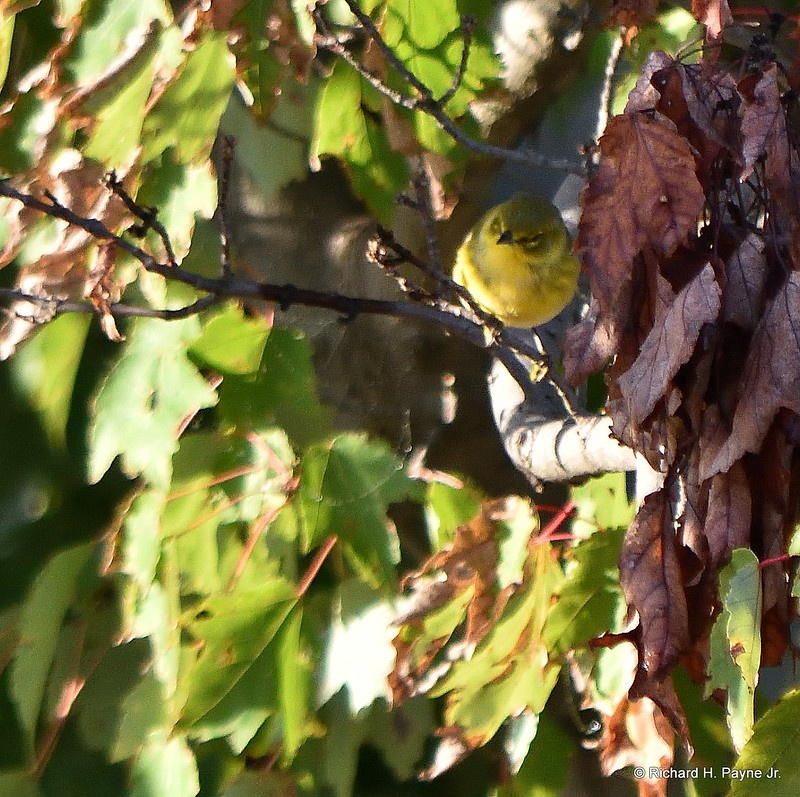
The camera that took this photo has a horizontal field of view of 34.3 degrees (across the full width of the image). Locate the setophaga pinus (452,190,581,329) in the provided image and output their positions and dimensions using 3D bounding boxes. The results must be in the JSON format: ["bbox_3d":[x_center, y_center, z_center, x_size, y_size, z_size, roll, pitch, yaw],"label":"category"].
[{"bbox_3d":[0.223,-0.273,2.482,0.176,0.298,0.214,20,-41,-1],"label":"setophaga pinus"}]
